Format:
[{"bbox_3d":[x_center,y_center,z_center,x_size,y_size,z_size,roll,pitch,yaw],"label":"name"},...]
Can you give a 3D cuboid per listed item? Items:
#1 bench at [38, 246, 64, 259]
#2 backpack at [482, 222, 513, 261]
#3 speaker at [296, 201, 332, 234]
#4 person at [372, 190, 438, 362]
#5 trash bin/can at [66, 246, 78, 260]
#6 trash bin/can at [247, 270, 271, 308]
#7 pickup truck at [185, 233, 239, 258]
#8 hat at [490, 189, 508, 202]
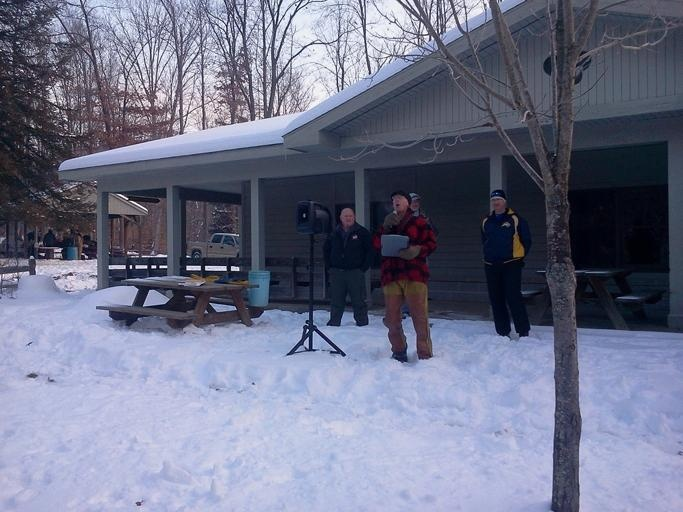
[{"bbox_3d":[-14.156,-0.161,29.285,0.710,0.526,0.710,4,-6,-41],"label":"bench"},{"bbox_3d":[2.178,-0.201,8.281,0.418,0.585,0.297,-3,-9,40],"label":"backpack"},{"bbox_3d":[-0.321,-0.519,8.026,0.330,0.524,0.460,0,2,41],"label":"speaker"},{"bbox_3d":[0.782,0.262,7.355,0.751,2.027,0.767,-1,0,5],"label":"person"},{"bbox_3d":[-12.844,-0.140,28.797,0.538,0.708,0.583,2,2,17],"label":"trash bin/can"},{"bbox_3d":[-1.452,0.591,10.534,0.504,0.851,0.538,0,-7,2],"label":"trash bin/can"},{"bbox_3d":[-6.084,-0.481,28.314,2.453,1.206,1.272,-3,-2,28],"label":"pickup truck"},{"bbox_3d":[2.184,-0.846,8.320,0.184,0.162,0.255,-2,0,12],"label":"hat"}]
